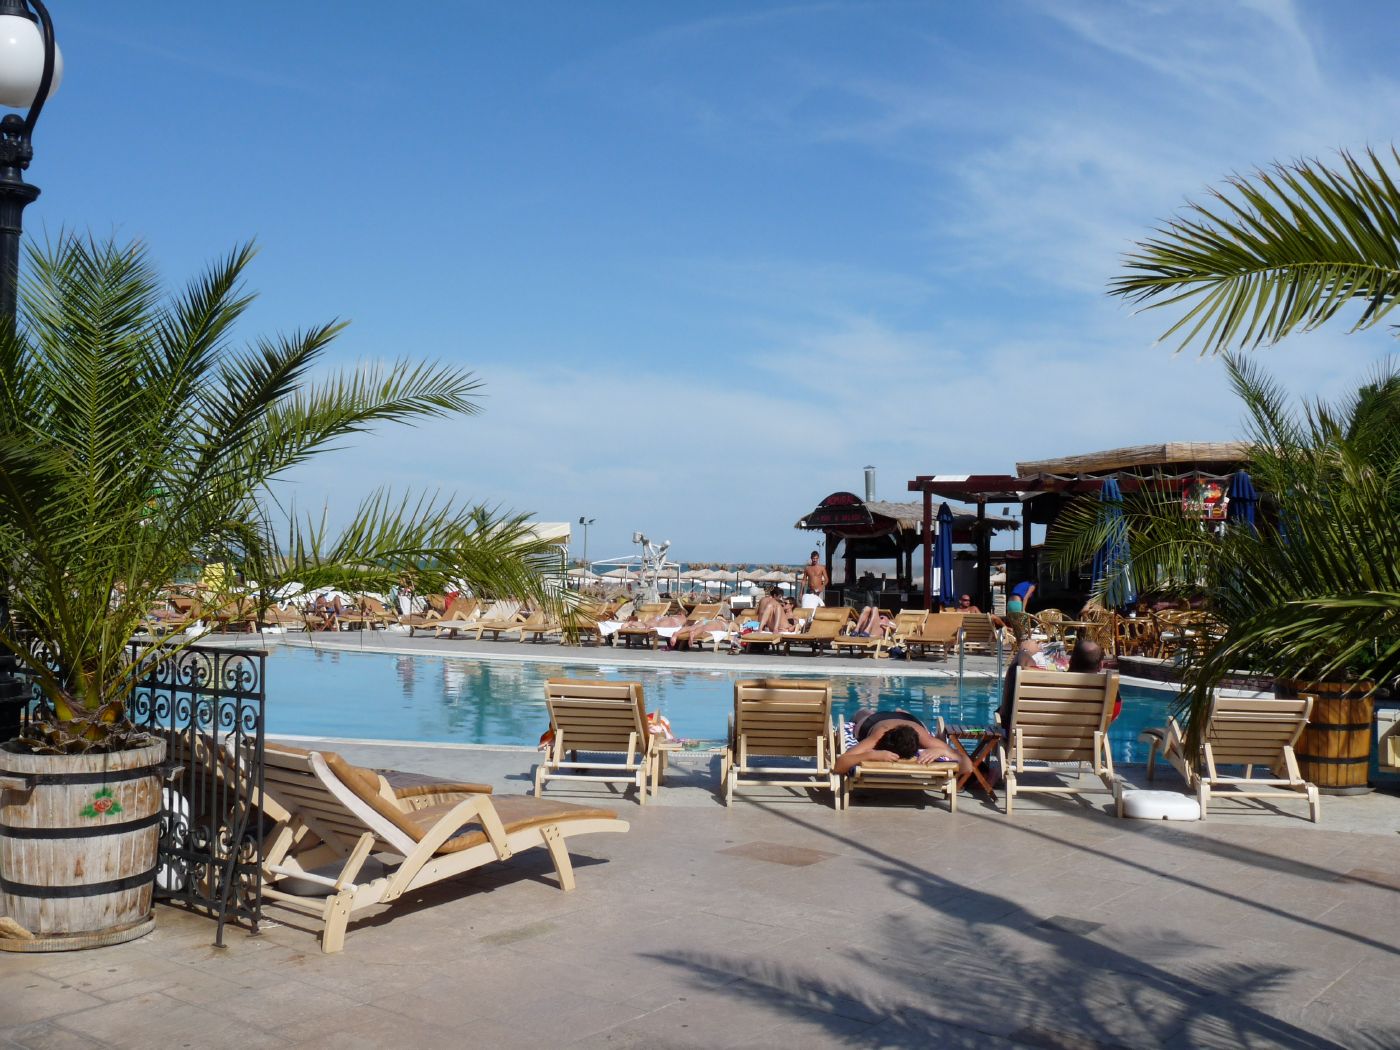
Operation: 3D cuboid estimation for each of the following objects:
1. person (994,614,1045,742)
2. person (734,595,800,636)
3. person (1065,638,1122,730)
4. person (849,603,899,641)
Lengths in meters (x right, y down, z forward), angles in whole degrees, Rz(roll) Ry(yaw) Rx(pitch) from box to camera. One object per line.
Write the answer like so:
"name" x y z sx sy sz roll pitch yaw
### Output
"person" 2.842 1.322 10.473 0.414 1.265 0.383 -28 47 -35
"person" 1.622 2.004 26.082 0.755 0.564 1.197 -1 2 16
"person" 3.611 1.541 10.416 0.245 0.699 0.213 10 12 25
"person" 3.891 2.180 25.782 0.663 0.412 0.899 3 4 24
